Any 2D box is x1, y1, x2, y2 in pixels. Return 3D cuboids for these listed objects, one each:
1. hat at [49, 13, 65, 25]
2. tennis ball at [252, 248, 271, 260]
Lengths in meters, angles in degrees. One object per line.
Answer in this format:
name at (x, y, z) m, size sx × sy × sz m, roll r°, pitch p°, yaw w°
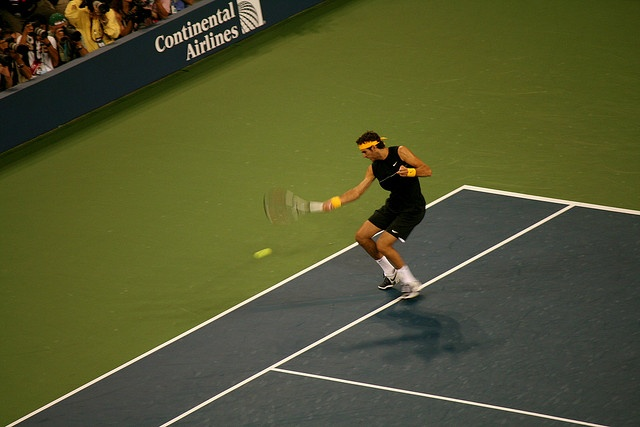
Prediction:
hat at (-5.844, -4.412, 18.177) m, size 0.407 × 0.231 × 0.255 m, roll 4°, pitch -1°, yaw -13°
tennis ball at (-1.039, 0.735, 15.056) m, size 0.342 × 0.085 × 0.138 m, roll -18°, pitch 59°, yaw 0°
